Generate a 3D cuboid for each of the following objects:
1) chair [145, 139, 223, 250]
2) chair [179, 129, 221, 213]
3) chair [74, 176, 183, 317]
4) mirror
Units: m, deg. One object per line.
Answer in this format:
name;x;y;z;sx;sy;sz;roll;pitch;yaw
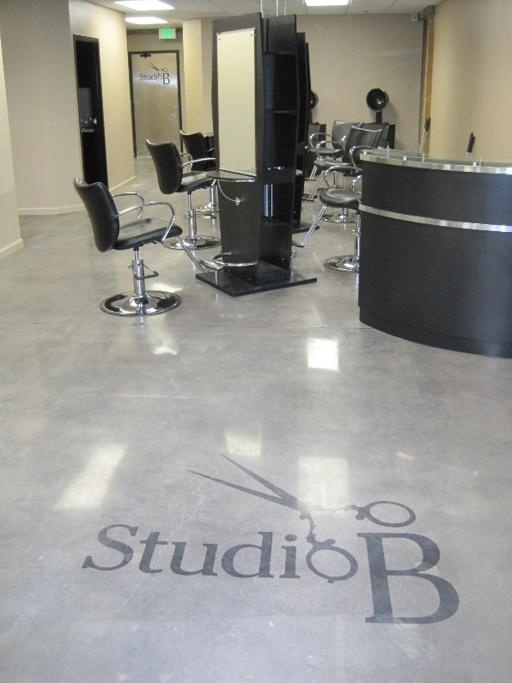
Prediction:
chair;-0.755;-1.590;5.869;0.658;1.095;0.639;-15;24;-37
chair;-0.682;-2.280;7.578;0.639;0.984;0.586;-1;5;5
chair;-0.951;-0.740;4.128;0.748;0.999;0.666;-16;29;-39
mirror;-0.152;-1.787;4.078;0.108;0.985;0.577;-9;23;-22
